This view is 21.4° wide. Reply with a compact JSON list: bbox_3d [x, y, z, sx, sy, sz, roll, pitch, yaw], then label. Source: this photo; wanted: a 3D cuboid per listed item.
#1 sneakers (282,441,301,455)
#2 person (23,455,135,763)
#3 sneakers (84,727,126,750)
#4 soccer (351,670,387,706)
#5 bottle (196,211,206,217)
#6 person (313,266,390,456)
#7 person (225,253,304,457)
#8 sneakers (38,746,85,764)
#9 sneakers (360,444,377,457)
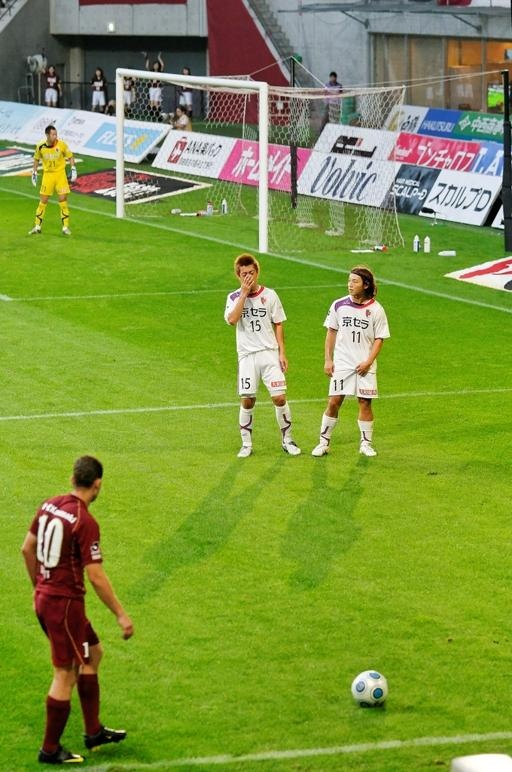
[{"bbox_3d":[0.305,0.535,11.479,0.070,0.095,0.197,-7,6,-21],"label":"sneakers"},{"bbox_3d":[-0.865,1.105,6.550,0.501,1.460,0.458,-2,13,-11],"label":"person"},{"bbox_3d":[-0.751,1.747,6.684,0.171,0.095,0.058,-13,32,-11],"label":"sneakers"},{"bbox_3d":[0.600,1.591,7.089,0.193,0.190,0.163,2,13,4],"label":"soccer"},{"bbox_3d":[-1.089,-3.453,27.070,0.124,0.068,0.183,0,11,4],"label":"bottle"},{"bbox_3d":[0.801,-0.196,11.341,0.599,1.619,0.580,2,13,5],"label":"person"},{"bbox_3d":[0.068,-0.268,11.358,0.626,1.741,0.748,1,13,1],"label":"person"},{"bbox_3d":[-0.943,1.798,6.580,0.231,0.107,0.086,0,5,-11],"label":"sneakers"},{"bbox_3d":[0.956,0.545,11.413,0.060,0.083,0.181,1,2,-26],"label":"sneakers"}]
